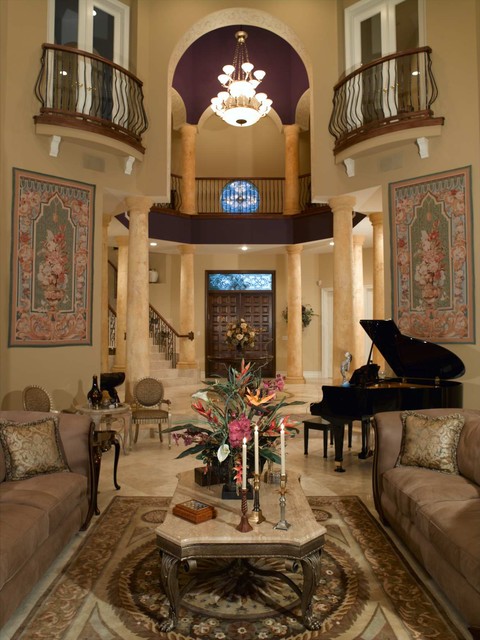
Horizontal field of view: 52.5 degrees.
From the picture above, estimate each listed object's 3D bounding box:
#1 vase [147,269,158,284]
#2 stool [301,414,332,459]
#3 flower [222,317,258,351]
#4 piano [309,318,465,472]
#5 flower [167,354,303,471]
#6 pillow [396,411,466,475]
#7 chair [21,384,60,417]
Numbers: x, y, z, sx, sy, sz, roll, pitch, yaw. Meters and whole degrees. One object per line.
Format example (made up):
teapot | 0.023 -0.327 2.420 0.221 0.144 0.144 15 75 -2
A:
vase | -2.262 -1.130 12.781 0.337 0.412 0.205 2 -4 -36
stool | 0.895 1.280 5.606 0.464 0.522 0.528 0 -1 13
flower | 0.013 0.414 10.828 0.731 0.704 0.309 -5 -24 5
piano | 1.537 0.747 5.562 1.738 1.945 1.323 -1 -3 22
flower | -0.094 0.871 4.819 1.350 1.208 1.392 1 -3 -7
pillow | 1.279 0.817 3.266 0.358 0.386 0.108 4 -19 43
chair | -1.945 0.769 4.710 0.194 0.260 0.612 0 -4 -9
